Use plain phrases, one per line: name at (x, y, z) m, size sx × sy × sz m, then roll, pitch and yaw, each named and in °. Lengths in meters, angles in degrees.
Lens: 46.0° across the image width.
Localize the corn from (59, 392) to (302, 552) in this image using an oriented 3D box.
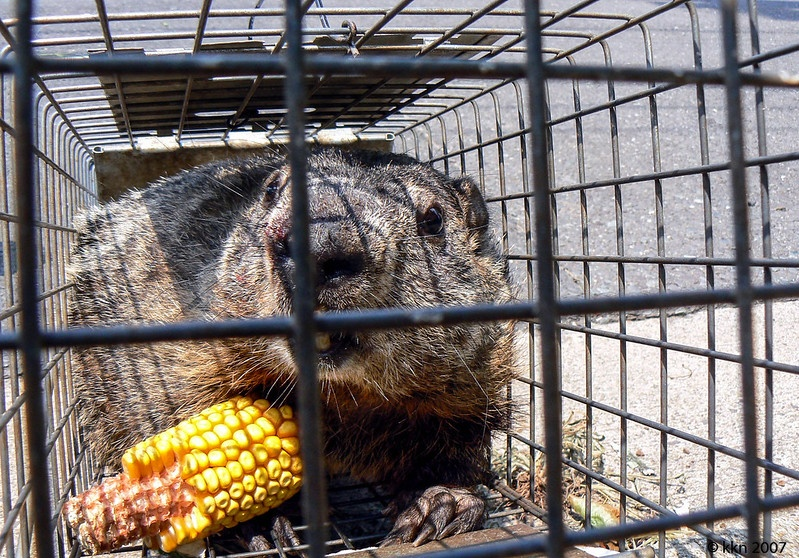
corn at (-0.726, 0.707, 3.554) m, size 0.919 × 0.463 × 0.388 m, roll -20°, pitch -54°, yaw -32°
